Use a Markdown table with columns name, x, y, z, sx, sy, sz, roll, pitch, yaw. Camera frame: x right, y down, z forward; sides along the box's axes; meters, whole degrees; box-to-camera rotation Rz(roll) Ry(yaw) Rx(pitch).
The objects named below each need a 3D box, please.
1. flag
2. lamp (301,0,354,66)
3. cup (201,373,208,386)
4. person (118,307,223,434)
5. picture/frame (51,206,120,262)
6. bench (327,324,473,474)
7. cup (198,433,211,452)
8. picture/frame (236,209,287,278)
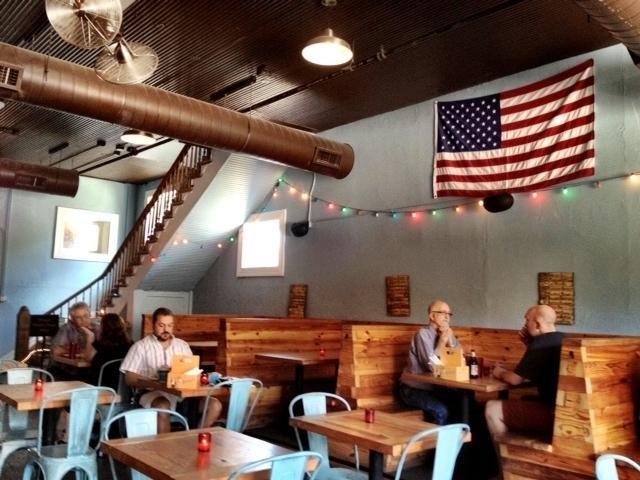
| name | x | y | z | sx | sy | sz | roll | pitch | yaw |
| --- | --- | --- | --- | --- | --- | --- | --- | --- | --- |
| flag | 2.862 | -1.603 | 6.746 | 2.063 | 1.437 | 0.158 | -7 | -15 | 40 |
| lamp | 0.076 | -2.032 | 4.877 | 0.459 | 0.317 | 0.383 | 6 | -9 | -30 |
| cup | -1.144 | 1.375 | 4.616 | 0.078 | 0.101 | 0.038 | 4 | 0 | 13 |
| person | -1.593 | 1.533 | 5.101 | 1.112 | 1.480 | 0.927 | 5 | 4 | 15 |
| picture/frame | -6.670 | -0.134 | 13.137 | 0.519 | 1.291 | 1.563 | -6 | -10 | 39 |
| bench | 0.773 | 1.548 | 4.540 | 1.493 | 1.324 | 0.752 | 7 | -11 | -36 |
| cup | -0.692 | 1.195 | 2.802 | 0.077 | 0.101 | 0.159 | 4 | -8 | -12 |
| picture/frame | -1.325 | 0.097 | 10.486 | 1.542 | 1.447 | 0.064 | -5 | -9 | 38 |
